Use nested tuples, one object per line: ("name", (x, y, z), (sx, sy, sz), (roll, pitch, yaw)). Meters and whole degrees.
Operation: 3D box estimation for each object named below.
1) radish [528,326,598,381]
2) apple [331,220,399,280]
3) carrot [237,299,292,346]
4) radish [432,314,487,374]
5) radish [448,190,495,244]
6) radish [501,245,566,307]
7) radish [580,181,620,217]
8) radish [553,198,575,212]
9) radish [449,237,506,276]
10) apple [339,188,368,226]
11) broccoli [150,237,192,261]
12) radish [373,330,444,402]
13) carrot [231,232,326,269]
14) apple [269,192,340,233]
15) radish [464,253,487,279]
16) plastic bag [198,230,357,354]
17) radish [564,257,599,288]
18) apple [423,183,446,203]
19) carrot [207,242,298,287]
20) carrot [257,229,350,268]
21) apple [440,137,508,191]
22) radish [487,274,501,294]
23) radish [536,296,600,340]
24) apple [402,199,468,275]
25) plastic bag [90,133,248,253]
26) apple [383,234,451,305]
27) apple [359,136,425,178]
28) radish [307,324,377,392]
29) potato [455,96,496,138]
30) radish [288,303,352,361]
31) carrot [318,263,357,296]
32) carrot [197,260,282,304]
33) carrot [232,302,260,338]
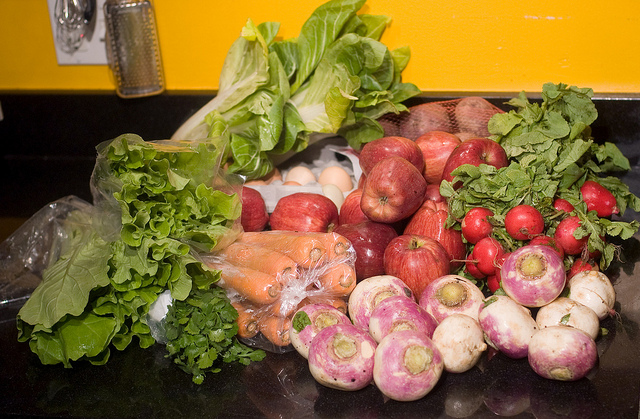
("radish", (0.526, 0.292, 1.120), (0.120, 0.118, 0.092), (16, -2, 2))
("apple", (0.129, 0.095, 1.377), (0.150, 0.145, 0.149), (1, 5, 32))
("carrot", (-0.112, 0.258, 1.188), (0.075, 0.184, 0.073), (-12, 55, 11))
("radish", (0.300, 0.281, 1.092), (0.117, 0.122, 0.110), (5, -11, 23))
("radish", (0.403, 0.021, 1.299), (0.086, 0.115, 0.114), (2, 21, -40))
("radish", (0.488, 0.164, 1.216), (0.135, 0.136, 0.137), (-10, -7, 9))
("radish", (0.725, -0.027, 1.326), (0.086, 0.073, 0.063), (-3, 26, -4))
("radish", (0.609, -0.011, 1.261), (0.042, 0.035, 0.035), (8, -5, -26))
("radish", (0.390, 0.110, 1.233), (0.105, 0.060, 0.058), (6, -6, 2))
("apple", (0.087, -0.004, 1.457), (0.084, 0.107, 0.089), (7, 7, 38))
("broccoli", (-0.352, 0.090, 1.161), (0.058, 0.029, 0.062), (25, 27, 32))
("radish", (0.186, 0.324, 1.053), (0.149, 0.125, 0.081), (3, 26, 6))
("carrot", (-0.131, 0.092, 1.315), (0.298, 0.092, 0.080), (10, -5, 36))
("apple", (-0.056, -0.005, 1.375), (0.160, 0.129, 0.127), (7, 14, 9))
("radish", (0.388, 0.143, 1.282), (0.056, 0.057, 0.053), (6, -13, -1))
("plastic bag", (-0.068, 0.198, 1.261), (0.352, 0.263, 0.142), (7, -26, 21))
("radish", (0.626, 0.153, 1.207), (0.039, 0.050, 0.040), (24, 40, 5))
("apple", (0.316, -0.043, 1.400), (0.053, 0.065, 0.054), (-5, -4, 31))
("carrot", (-0.192, 0.109, 1.314), (0.311, 0.087, 0.085), (17, 26, 37))
("carrot", (0.003, 0.120, 1.327), (0.066, 0.068, 0.226), (-29, 0, -26))
("apple", (0.398, -0.157, 1.389), (0.146, 0.168, 0.156), (-11, 5, 19))
("radish", (0.428, 0.182, 1.250), (0.036, 0.044, 0.036), (8, 22, 34))
("radish", (0.569, 0.259, 1.150), (0.149, 0.091, 0.148), (-3, 9, 19))
("apple", (0.305, 0.054, 1.407), (0.179, 0.212, 0.171), (15, 4, 7))
("plastic bag", (-0.391, -0.107, 1.223), (0.322, 0.140, 0.336), (9, 54, -4))
("apple", (0.250, 0.135, 1.321), (0.162, 0.168, 0.155), (-2, 19, 9))
("apple", (0.210, -0.156, 1.455), (0.159, 0.128, 0.129), (-14, 10, 25))
("radish", (0.051, 0.306, 1.131), (0.137, 0.134, 0.138), (22, -4, 6))
("potato", (0.468, -0.283, 1.536), (0.115, 0.095, 0.087), (9, 28, 18))
("radish", (-0.002, 0.247, 1.093), (0.125, 0.120, 0.069), (-40, -3, -7))
("carrot", (0.039, 0.170, 1.262), (0.083, 0.063, 0.062), (0, 55, 34))
("carrot", (-0.202, 0.169, 1.272), (0.282, 0.076, 0.077), (8, 36, 45))
("carrot", (-0.195, 0.266, 1.242), (0.057, 0.048, 0.122), (-5, 14, -34))
